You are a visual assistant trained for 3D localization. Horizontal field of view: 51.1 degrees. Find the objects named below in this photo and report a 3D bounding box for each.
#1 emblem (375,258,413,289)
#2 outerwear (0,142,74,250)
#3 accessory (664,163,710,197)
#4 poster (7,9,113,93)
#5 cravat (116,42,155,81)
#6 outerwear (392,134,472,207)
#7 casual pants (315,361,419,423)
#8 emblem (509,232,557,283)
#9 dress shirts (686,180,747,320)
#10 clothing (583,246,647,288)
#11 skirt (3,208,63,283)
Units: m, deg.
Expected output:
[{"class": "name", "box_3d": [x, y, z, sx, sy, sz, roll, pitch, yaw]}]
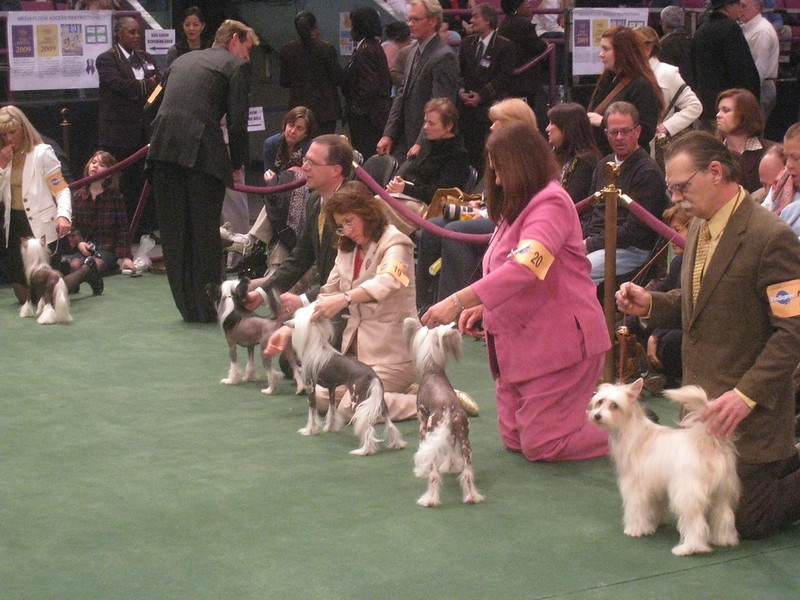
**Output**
[{"class": "emblem", "box_3d": [-0.025, -0.176, 5.146, 0.163, 0.139, 0.157, 10, 13, -5]}, {"class": "outerwear", "box_3d": [-3.586, -1.038, 8.182, 0.765, 0.967, 0.308, -1, 11, 7]}, {"class": "accessory", "box_3d": [1.281, -0.553, 3.736, 0.140, 0.042, 0.134, -38, 5, -10]}, {"class": "poster", "box_3d": [-4.185, -3.093, 10.289, 1.150, 0.787, 0.044, -7, 17, -26]}, {"class": "cravat", "box_3d": [-3.400, -3.103, 10.736, 0.468, 0.460, 0.199, -41, 23, -31]}, {"class": "outerwear", "box_3d": [0.361, -1.290, 8.401, 0.674, 0.817, 0.792, 3, 25, -21]}, {"class": "casual pants", "box_3d": [-0.160, 0.570, 5.384, 0.546, 0.180, 0.398, -5, 4, -36]}, {"class": "emblem", "box_3d": [0.682, -0.221, 4.253, 0.170, 0.211, 0.175, -33, 11, 22]}, {"class": "dress shirts", "box_3d": [1.432, -0.250, 3.867, 0.113, 0.467, 0.361, 12, 7, 36]}, {"class": "clothing", "box_3d": [1.514, -0.252, 5.898, 0.402, 0.142, 0.226, -26, 28, -9]}, {"class": "skirt", "box_3d": [-3.596, -0.560, 8.224, 0.221, 0.709, 0.712, -6, -11, 18]}]
